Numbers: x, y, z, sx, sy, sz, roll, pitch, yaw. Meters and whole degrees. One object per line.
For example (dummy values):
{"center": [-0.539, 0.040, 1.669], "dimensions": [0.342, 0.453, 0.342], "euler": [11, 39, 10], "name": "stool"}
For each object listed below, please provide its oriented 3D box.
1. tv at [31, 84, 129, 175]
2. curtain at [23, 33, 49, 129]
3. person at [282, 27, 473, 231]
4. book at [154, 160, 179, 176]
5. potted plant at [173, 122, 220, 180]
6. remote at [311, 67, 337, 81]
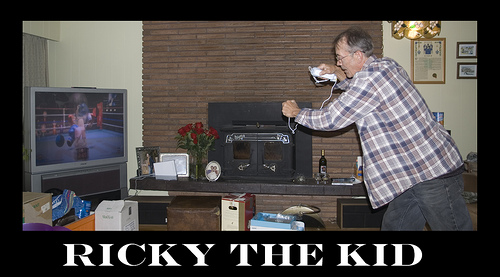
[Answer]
{"center": [-2.274, -0.108, 4.906], "dimensions": [1.379, 1.018, 0.133], "euler": [-1, 0, -37], "name": "tv"}
{"center": [-3.241, -0.859, 5.552], "dimensions": [0.171, 1.468, 0.319], "euler": [2, -5, 25], "name": "curtain"}
{"center": [1.289, -0.072, 3.397], "dimensions": [1.441, 1.852, 0.416], "euler": [4, 15, 20], "name": "person"}
{"center": [-1.144, 0.395, 5.002], "dimensions": [0.292, 0.209, 0.052], "euler": [0, 14, 1], "name": "book"}
{"center": [-0.699, 0.159, 5.053], "dimensions": [0.543, 0.733, 0.272], "euler": [-3, 14, -9], "name": "potted plant"}
{"center": [0.755, -0.658, 3.854], "dimensions": [0.202, 0.053, 0.146], "euler": [4, 8, -33], "name": "remote"}
